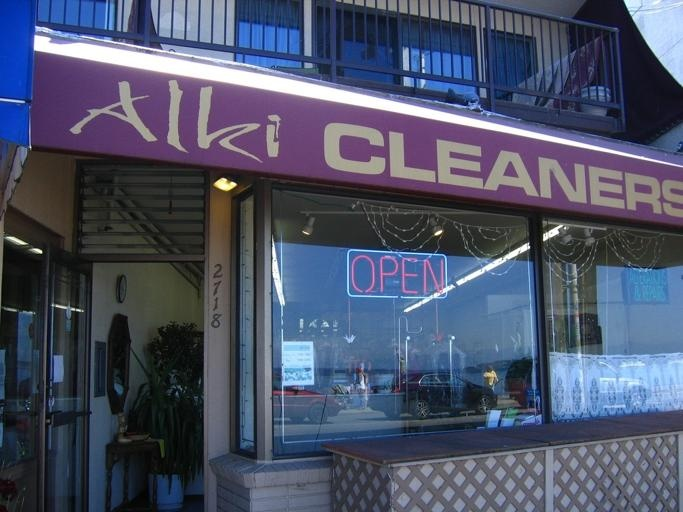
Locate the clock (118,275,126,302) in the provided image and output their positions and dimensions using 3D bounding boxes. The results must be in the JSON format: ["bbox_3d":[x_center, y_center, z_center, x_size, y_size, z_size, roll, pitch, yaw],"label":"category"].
[{"bbox_3d":[-2.524,0.374,7.941,0.072,0.333,0.455,0,-13,-10],"label":"clock"}]

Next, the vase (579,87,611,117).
[{"bbox_3d":[2.898,-1.761,7.911,0.293,0.289,0.336,2,-11,1],"label":"vase"}]

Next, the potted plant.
[{"bbox_3d":[-2.104,1.836,8.291,0.859,2.201,1.161,1,-12,-14],"label":"potted plant"}]
